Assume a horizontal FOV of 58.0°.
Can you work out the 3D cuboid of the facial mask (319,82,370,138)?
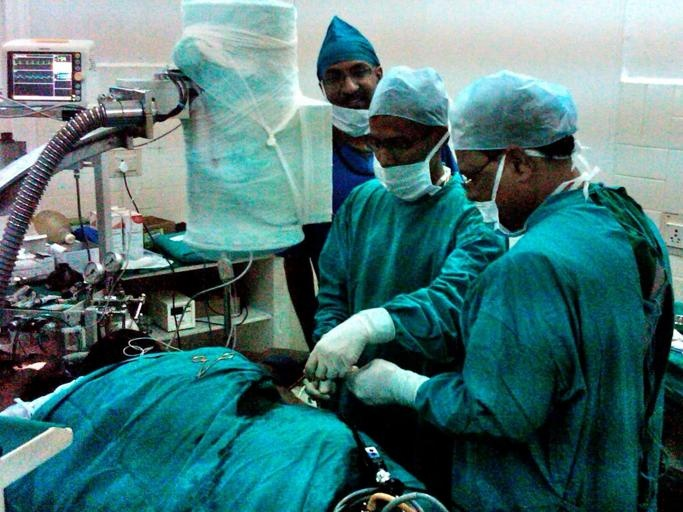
[{"bbox_3d":[0.024,-0.599,2.492,0.190,0.110,0.198,-3,51,-14],"label":"facial mask"}]

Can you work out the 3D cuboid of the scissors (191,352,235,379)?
[{"bbox_3d":[-0.363,0.297,1.748,0.121,0.031,0.212,-3,5,-12],"label":"scissors"}]

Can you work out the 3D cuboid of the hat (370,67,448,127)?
[{"bbox_3d":[0.209,-0.502,1.944,0.258,0.174,0.270,-2,10,-42],"label":"hat"}]

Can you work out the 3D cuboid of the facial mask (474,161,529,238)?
[{"bbox_3d":[0.438,-0.175,1.745,0.070,0.257,0.274,-6,-8,44],"label":"facial mask"}]

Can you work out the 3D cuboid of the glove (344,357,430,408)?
[{"bbox_3d":[0.112,0.341,1.709,0.276,0.094,0.143,10,15,9],"label":"glove"}]

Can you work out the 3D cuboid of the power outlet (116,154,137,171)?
[{"bbox_3d":[-1.017,-0.447,2.899,0.054,0.088,0.102,7,9,36],"label":"power outlet"}]

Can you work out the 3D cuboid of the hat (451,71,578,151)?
[{"bbox_3d":[0.445,-0.372,1.577,0.335,0.201,0.221,3,14,3],"label":"hat"}]

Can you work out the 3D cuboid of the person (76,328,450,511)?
[{"bbox_3d":[-0.315,0.505,2.131,1.284,0.456,0.381,28,2,0],"label":"person"}]

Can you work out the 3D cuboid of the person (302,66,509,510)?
[{"bbox_3d":[0.211,0.254,1.996,0.624,1.634,0.961,-1,13,0],"label":"person"}]

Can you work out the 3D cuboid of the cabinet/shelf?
[{"bbox_3d":[-0.846,0.048,3.516,0.826,0.400,0.513,-12,24,-33],"label":"cabinet/shelf"}]

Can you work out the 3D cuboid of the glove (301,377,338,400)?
[{"bbox_3d":[-0.055,0.374,1.770,0.066,0.029,0.080,14,0,-39],"label":"glove"}]
